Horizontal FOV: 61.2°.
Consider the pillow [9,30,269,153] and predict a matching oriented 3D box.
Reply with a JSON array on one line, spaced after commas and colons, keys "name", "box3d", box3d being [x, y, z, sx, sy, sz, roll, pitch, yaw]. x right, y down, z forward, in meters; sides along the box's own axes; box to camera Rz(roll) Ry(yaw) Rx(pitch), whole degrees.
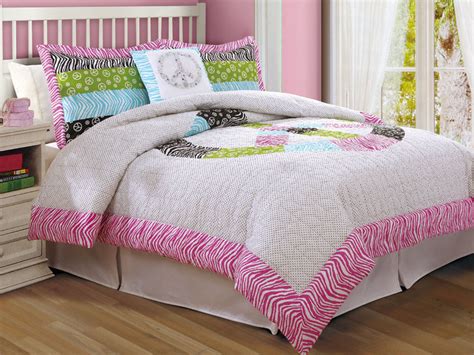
[{"name": "pillow", "box3d": [-0.570, -0.462, 2.176, 1.410, 0.164, 0.726, -3, 44, -25]}]
